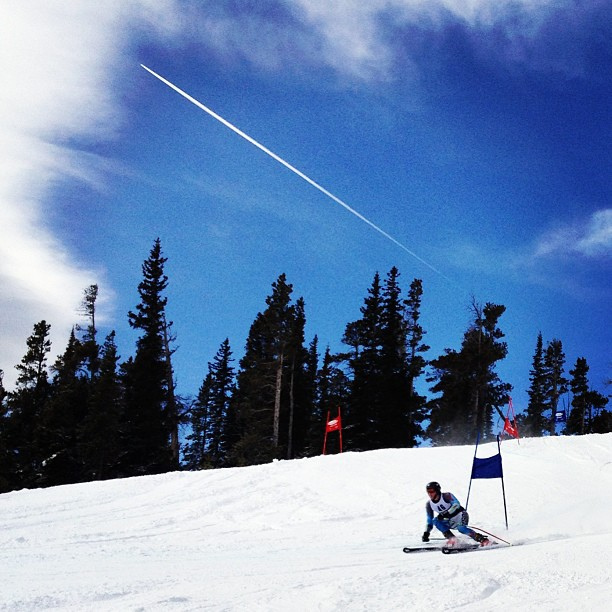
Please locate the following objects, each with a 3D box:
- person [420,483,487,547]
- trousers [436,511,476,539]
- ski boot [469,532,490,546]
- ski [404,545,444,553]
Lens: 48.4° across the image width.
[{"bbox_3d":[3.192,4.533,14.553,0.940,1.292,1.502,24,-50,-19],"label":"person"},{"bbox_3d":[2.918,4.241,13.135,0.705,0.444,0.284,-9,29,12],"label":"trousers"},{"bbox_3d":[3.346,4.457,12.984,0.361,0.187,0.130,29,14,0],"label":"ski boot"},{"bbox_3d":[2.241,4.630,12.959,0.938,0.109,0.213,-2,2,-1],"label":"ski"}]
